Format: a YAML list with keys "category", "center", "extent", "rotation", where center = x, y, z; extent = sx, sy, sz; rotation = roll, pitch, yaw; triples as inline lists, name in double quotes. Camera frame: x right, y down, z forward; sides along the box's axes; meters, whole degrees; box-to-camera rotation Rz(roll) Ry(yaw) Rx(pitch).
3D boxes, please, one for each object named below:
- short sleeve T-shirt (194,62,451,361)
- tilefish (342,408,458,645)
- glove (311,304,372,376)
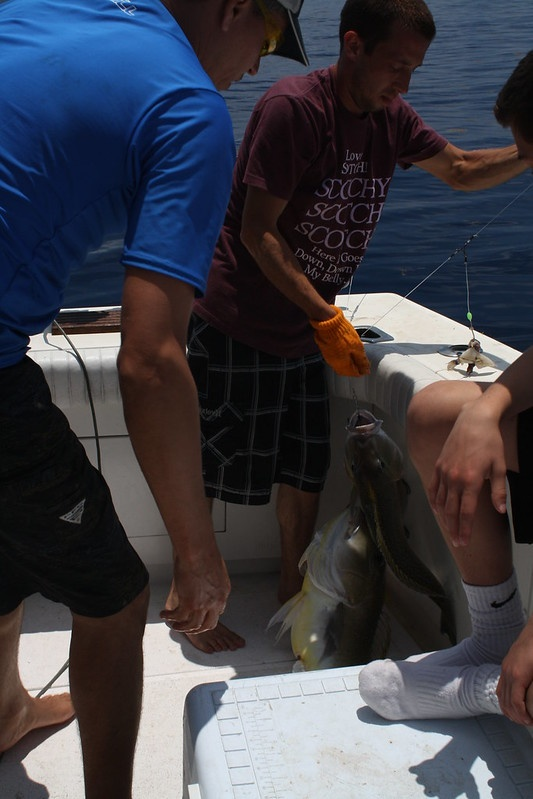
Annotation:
- category: "short sleeve T-shirt"
  center: [0.030, -0.603, 1.903]
  extent: [0.716, 0.758, 0.628]
  rotation: [23, 27, 18]
- category: "tilefish"
  center: [0.270, 0.305, 1.644]
  extent: [0.181, 0.660, 0.280]
  rotation: [-21, -5, 34]
- category: "glove"
  center: [0.191, -0.138, 1.601]
  extent: [0.119, 0.197, 0.059]
  rotation: [-21, 27, 21]
